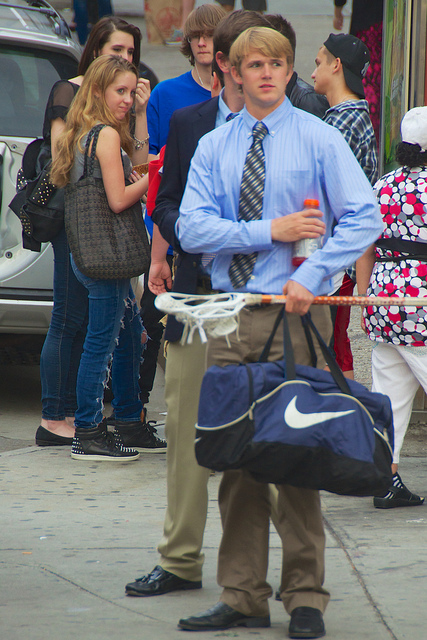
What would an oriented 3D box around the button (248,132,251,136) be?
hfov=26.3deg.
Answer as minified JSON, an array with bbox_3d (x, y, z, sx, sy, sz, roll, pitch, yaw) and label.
[{"bbox_3d":[0.109,-0.579,2.848,0.015,0.011,0.003,0,-7,-8],"label":"button"}]

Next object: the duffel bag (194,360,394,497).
[{"bbox_3d":[0.217,0.319,2.601,0.528,0.321,0.199,8,-35,4],"label":"duffel bag"}]

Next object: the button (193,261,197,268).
[{"bbox_3d":[-0.066,-0.187,3.114,0.015,0.022,0.003,9,12,30],"label":"button"}]

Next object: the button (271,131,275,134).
[{"bbox_3d":[0.180,-0.577,2.815,0.010,0.008,0.008,3,10,0],"label":"button"}]

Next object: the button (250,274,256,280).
[{"bbox_3d":[0.119,-0.131,2.822,0.018,0.015,0.005,1,-6,-8],"label":"button"}]

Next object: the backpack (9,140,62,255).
[{"bbox_3d":[-0.924,-0.663,5.056,0.280,0.558,0.435,9,22,-16],"label":"backpack"}]

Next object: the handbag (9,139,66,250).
[{"bbox_3d":[-0.977,-0.650,5.047,0.296,0.594,0.451,7,39,-21],"label":"handbag"}]
